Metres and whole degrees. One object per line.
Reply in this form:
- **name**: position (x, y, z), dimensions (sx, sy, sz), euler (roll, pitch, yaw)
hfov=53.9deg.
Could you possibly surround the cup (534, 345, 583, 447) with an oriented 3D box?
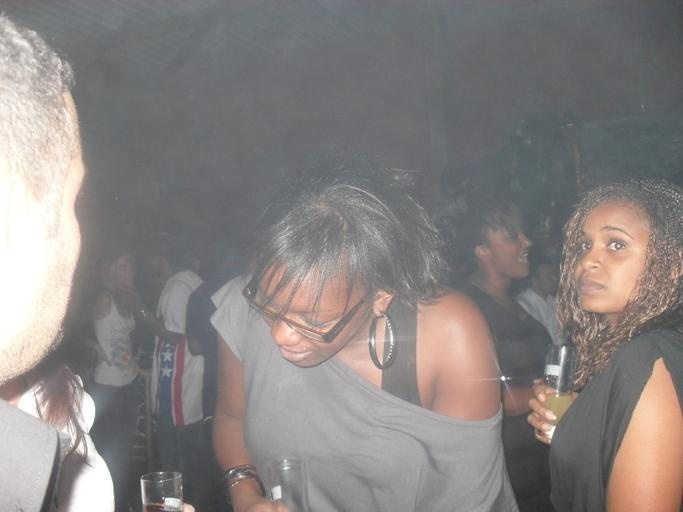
- **cup**: position (0.863, 0.555, 2.696), dimensions (0.185, 0.386, 0.179), euler (4, -8, 1)
